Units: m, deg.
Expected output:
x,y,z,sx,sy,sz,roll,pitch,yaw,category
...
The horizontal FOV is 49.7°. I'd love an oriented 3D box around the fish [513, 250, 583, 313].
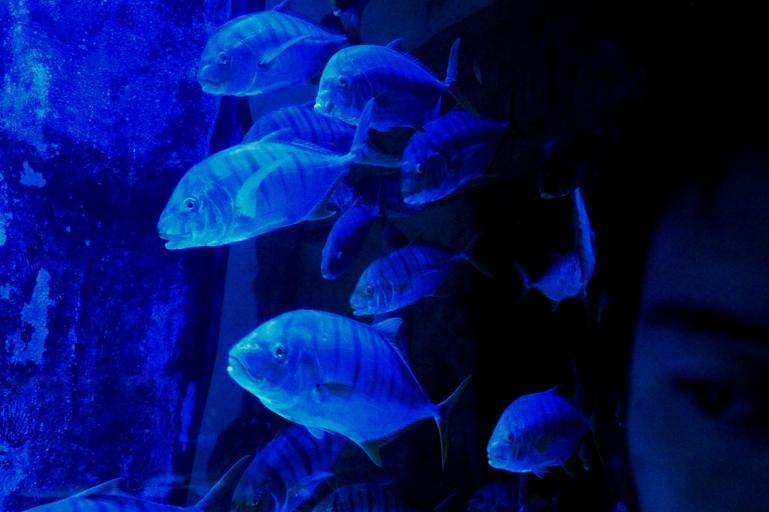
x,y,z,sx,sy,sz,roll,pitch,yaw,category
0.710,0.094,3.562,0.109,0.291,0.388,4,-14,-31,fish
